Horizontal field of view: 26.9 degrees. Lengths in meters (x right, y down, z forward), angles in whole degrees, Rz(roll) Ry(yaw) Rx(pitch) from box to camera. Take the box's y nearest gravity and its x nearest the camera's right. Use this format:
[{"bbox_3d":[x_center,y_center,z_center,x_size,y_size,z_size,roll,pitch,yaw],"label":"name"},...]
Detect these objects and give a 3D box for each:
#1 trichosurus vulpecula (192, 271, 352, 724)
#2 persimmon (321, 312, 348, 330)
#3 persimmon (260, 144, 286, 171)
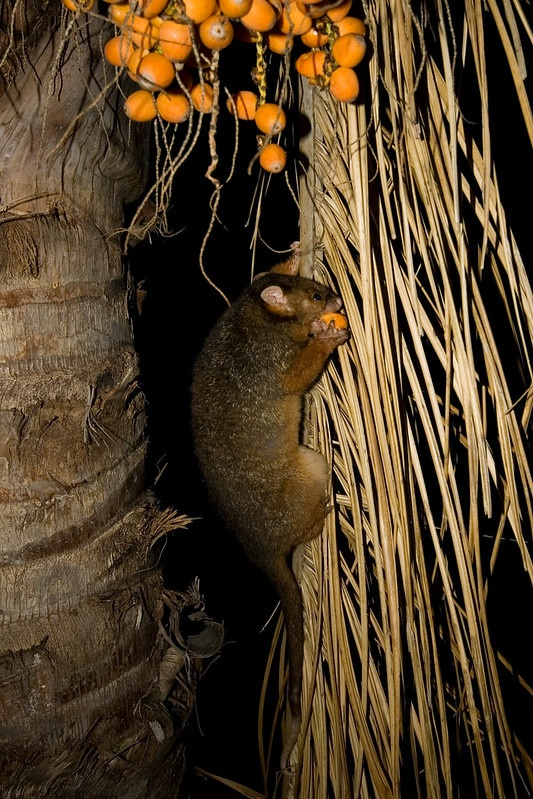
[{"bbox_3d":[0.011,0.176,3.889,0.438,1.772,0.407,2,-4,-20],"label":"trichosurus vulpecula"},{"bbox_3d":[0.218,-0.249,3.482,0.059,0.071,0.036,3,48,23],"label":"persimmon"},{"bbox_3d":[0.016,-0.541,2.506,0.048,0.077,0.057,0,5,9],"label":"persimmon"}]
